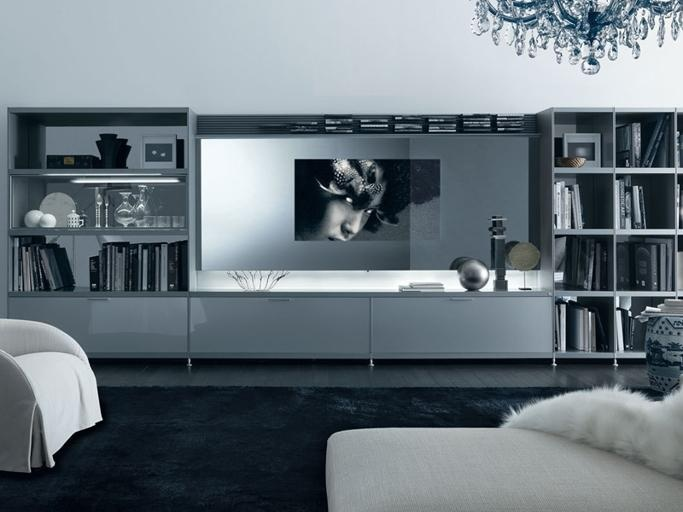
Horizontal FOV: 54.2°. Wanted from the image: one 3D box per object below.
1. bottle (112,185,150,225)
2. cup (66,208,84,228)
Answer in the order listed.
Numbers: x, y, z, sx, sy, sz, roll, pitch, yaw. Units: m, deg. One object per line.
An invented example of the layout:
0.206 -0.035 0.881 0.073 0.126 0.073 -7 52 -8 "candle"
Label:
-1.879 -0.459 5.990 0.339 0.348 0.183 -1 -2 -12 "bottle"
-2.375 -0.338 6.020 0.196 0.202 0.117 1 -3 -28 "cup"
